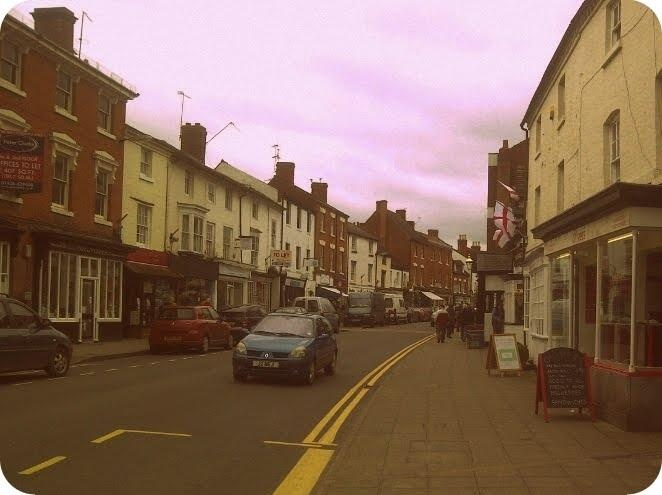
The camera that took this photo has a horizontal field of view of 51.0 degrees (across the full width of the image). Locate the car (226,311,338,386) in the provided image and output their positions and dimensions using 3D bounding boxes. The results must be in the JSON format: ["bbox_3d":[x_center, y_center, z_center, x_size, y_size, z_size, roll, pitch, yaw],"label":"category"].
[{"bbox_3d":[-1.160,2.536,17.565,1.845,2.109,2.934,-2,-2,7],"label":"car"}]

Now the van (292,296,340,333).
[{"bbox_3d":[-0.843,4.012,38.987,1.990,2.396,2.381,-4,-1,3],"label":"van"}]

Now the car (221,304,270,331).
[{"bbox_3d":[-3.729,3.075,31.087,0.941,0.963,1.791,0,2,29],"label":"car"}]

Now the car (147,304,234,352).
[{"bbox_3d":[-4.965,2.951,25.632,1.405,1.297,2.755,-2,-3,16],"label":"car"}]

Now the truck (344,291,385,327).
[{"bbox_3d":[3.141,4.622,51.896,2.082,2.593,5.271,-4,-13,34],"label":"truck"}]

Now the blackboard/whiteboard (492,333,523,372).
[{"bbox_3d":[4.824,2.910,19.116,0.729,1.221,0.732,0,-22,-11],"label":"blackboard/whiteboard"}]

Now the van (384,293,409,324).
[{"bbox_3d":[5.322,4.975,57.506,1.183,1.932,3.583,-1,-1,16],"label":"van"}]
